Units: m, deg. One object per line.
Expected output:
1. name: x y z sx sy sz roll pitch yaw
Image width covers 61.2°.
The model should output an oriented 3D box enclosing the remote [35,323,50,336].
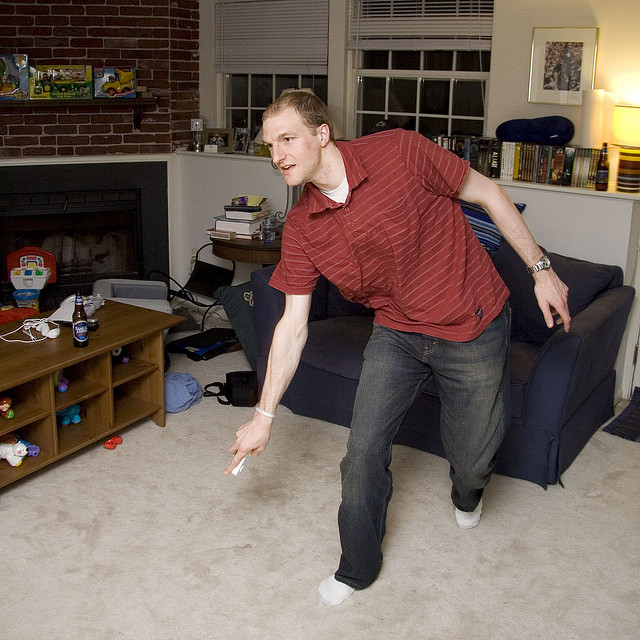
1. remote: -1.250 0.043 2.463 0.059 0.019 0.060 3 45 -42

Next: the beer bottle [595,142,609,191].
1. beer bottle: 1.462 -0.790 2.796 0.056 0.245 0.122 6 13 25

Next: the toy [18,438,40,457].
1. toy: -1.147 0.509 2.156 0.078 0.027 0.064 17 18 36

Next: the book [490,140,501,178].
1. book: 1.019 -0.935 3.135 0.091 0.174 0.175 4 29 11

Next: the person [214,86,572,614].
1. person: 0.193 0.042 1.439 0.792 1.243 0.571 -8 4 -3

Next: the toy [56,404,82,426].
1. toy: -1.133 0.433 2.458 0.110 0.084 0.067 -10 16 -39

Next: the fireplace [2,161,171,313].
1. fireplace: -1.785 -0.648 4.041 1.055 0.992 0.360 -3 9 -15

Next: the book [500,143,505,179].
1. book: 1.045 -0.912 3.107 0.030 0.142 0.138 -1 25 14

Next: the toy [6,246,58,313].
1. toy: -2.080 -0.300 3.940 0.336 0.418 0.521 -7 14 -30

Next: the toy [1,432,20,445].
1. toy: -1.233 0.468 2.166 0.047 0.019 0.069 4 9 -5

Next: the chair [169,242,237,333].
1. chair: -0.991 -0.255 4.435 0.651 0.438 0.425 -21 -20 19

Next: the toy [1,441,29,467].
1. toy: -1.177 0.523 2.091 0.083 0.034 0.087 23 38 -23
